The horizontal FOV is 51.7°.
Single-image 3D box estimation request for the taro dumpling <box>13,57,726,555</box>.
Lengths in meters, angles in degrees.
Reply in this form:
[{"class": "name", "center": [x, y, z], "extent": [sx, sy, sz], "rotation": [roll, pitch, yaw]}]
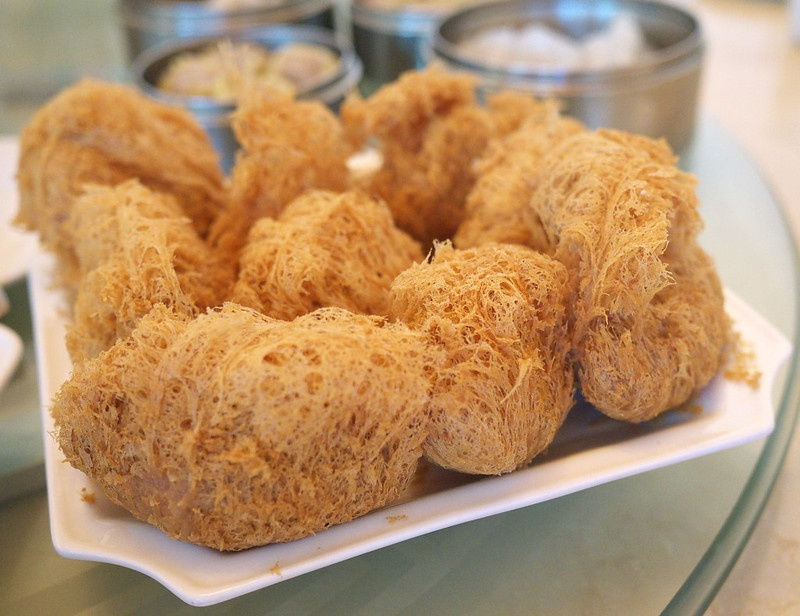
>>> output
[{"class": "taro dumpling", "center": [-0.093, -0.016, 0.893], "extent": [0.611, 0.511, 0.459], "rotation": [-15, 28, -35]}]
